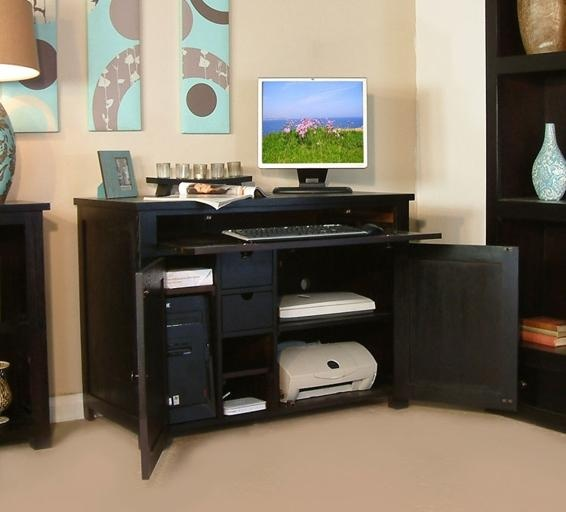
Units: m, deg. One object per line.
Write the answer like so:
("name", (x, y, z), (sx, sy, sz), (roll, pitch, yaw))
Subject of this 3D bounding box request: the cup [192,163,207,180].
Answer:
("cup", (-0.370, -0.376, 2.364), (0.058, 0.077, 0.065), (0, 4, -5))

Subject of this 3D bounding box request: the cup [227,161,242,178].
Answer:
("cup", (-0.234, -0.402, 2.487), (0.067, 0.086, 0.073), (0, 3, 0))

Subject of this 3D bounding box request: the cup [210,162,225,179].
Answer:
("cup", (-0.293, -0.388, 2.399), (0.063, 0.075, 0.063), (1, 8, 0))

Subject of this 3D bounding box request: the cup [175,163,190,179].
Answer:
("cup", (-0.442, -0.375, 2.342), (0.058, 0.072, 0.064), (0, 5, -6))

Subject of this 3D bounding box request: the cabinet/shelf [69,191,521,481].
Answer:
("cabinet/shelf", (0.055, 0.217, 2.219), (1.682, 0.961, 0.981), (-3, 6, -26))

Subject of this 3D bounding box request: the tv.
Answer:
("tv", (0.124, -0.586, 2.479), (0.535, 0.626, 0.187), (-1, 4, -10))

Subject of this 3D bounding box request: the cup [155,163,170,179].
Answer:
("cup", (-0.526, -0.377, 2.341), (0.061, 0.079, 0.065), (0, 4, 0))

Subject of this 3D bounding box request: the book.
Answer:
("book", (-0.299, -0.236, 2.031), (0.386, 0.114, 0.425), (2, 6, 19))

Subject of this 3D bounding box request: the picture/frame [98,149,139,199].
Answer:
("picture/frame", (-0.701, -0.345, 2.236), (0.022, 0.248, 0.199), (-18, -6, 41))
